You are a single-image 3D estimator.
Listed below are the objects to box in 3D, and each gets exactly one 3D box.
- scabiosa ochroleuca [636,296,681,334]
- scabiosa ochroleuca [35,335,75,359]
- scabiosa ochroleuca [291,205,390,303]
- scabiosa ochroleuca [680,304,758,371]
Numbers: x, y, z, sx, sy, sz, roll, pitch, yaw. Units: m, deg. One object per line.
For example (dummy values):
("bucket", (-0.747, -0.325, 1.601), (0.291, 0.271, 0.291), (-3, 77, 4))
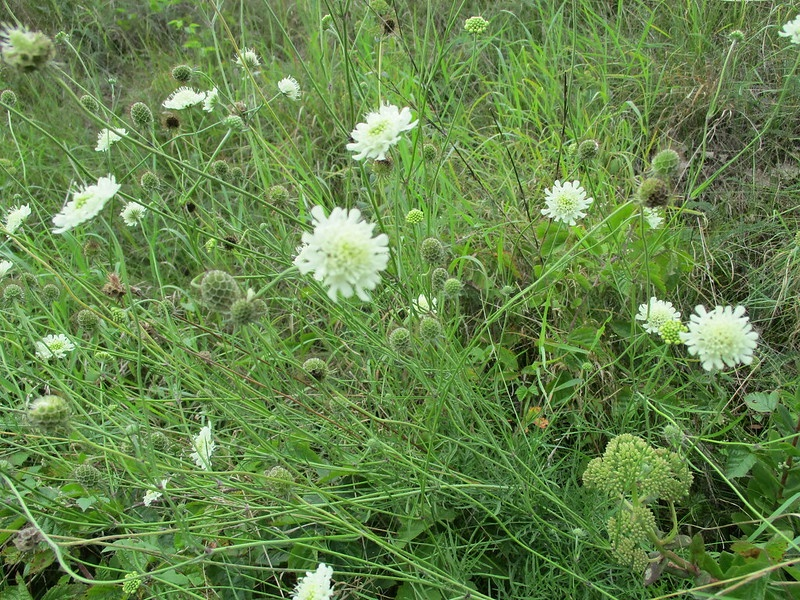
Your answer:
("scabiosa ochroleuca", (1.519, 0.077, 3.778), (0.237, 0.104, 0.248), (-27, 32, 2))
("scabiosa ochroleuca", (-2.238, 0.303, 4.131), (0.132, 0.059, 0.143), (-24, 50, -36))
("scabiosa ochroleuca", (-0.273, -0.180, 3.177), (0.424, 0.196, 0.478), (-5, 86, -6))
("scabiosa ochroleuca", (1.690, 0.254, 3.347), (0.357, 0.162, 0.400), (5, 85, 35))
